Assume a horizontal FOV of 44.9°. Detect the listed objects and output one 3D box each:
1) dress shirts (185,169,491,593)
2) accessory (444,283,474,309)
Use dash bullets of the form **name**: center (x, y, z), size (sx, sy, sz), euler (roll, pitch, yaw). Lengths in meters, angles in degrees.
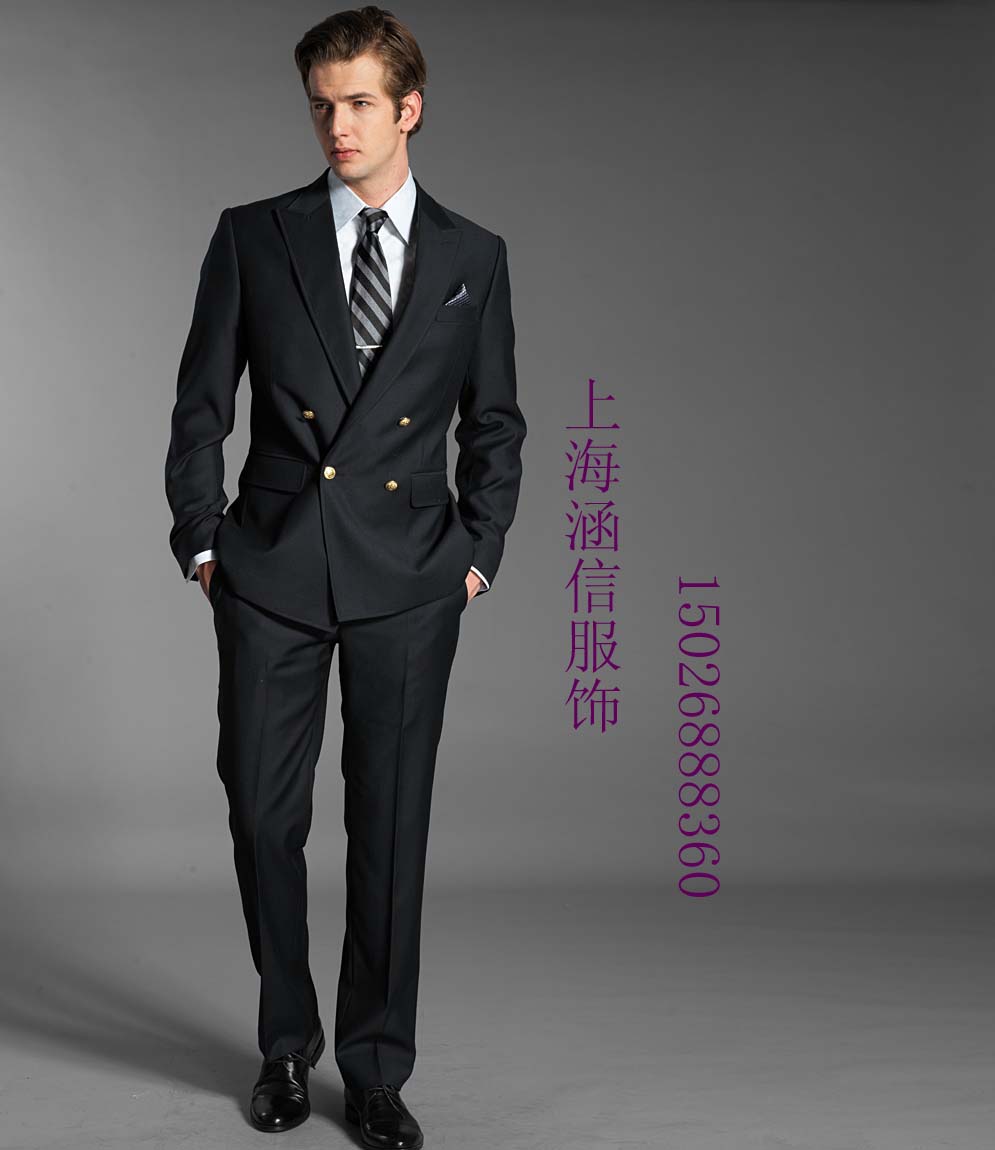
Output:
- **dress shirts**: center (-0.211, -0.269, 1.656), size (0.416, 0.598, 0.194), euler (1, 2, -4)
- **accessory**: center (-0.053, -0.383, 1.665), size (0.019, 0.058, 0.016), euler (11, -48, 59)
